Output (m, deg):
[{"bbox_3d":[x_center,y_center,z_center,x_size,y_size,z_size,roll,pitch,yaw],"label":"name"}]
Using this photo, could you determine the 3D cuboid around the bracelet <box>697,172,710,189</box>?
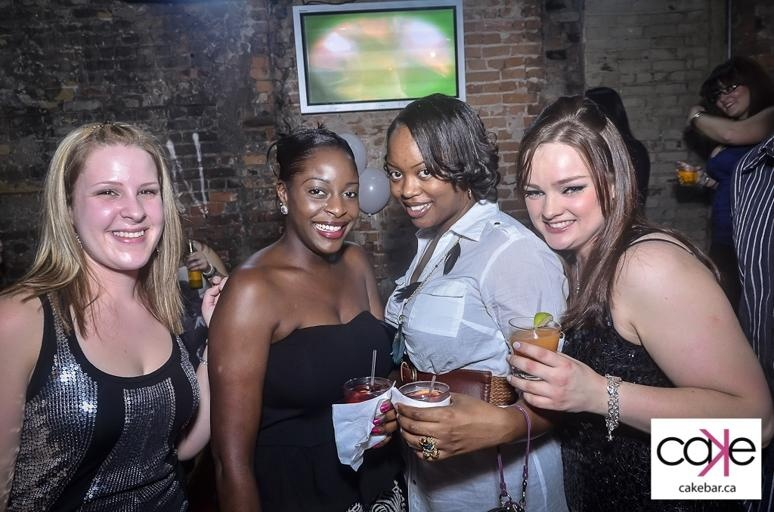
[{"bbox_3d":[2.451,-0.597,4.616,0.106,0.077,0.059,26,15,1],"label":"bracelet"}]

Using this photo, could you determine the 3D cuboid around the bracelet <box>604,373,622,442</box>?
[{"bbox_3d":[0.914,0.600,2.417,0.065,0.196,0.153,5,-9,14],"label":"bracelet"}]

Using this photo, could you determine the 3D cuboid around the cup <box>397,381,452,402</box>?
[{"bbox_3d":[0.154,0.546,2.481,0.209,0.072,0.122,2,12,23],"label":"cup"}]

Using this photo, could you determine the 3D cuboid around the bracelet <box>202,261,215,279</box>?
[{"bbox_3d":[-1.319,0.097,4.473,0.063,0.101,0.094,-15,13,-2],"label":"bracelet"}]

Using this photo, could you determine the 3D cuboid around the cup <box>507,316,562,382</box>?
[{"bbox_3d":[0.616,0.368,2.439,0.253,0.266,0.251,0,1,0],"label":"cup"}]

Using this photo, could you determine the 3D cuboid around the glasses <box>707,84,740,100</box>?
[{"bbox_3d":[2.600,-1.266,4.585,0.175,0.047,0.168,-4,-3,-23],"label":"glasses"}]

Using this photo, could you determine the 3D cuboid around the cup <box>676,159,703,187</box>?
[{"bbox_3d":[2.305,-0.644,4.622,0.202,0.185,0.162,-1,0,-35],"label":"cup"}]
